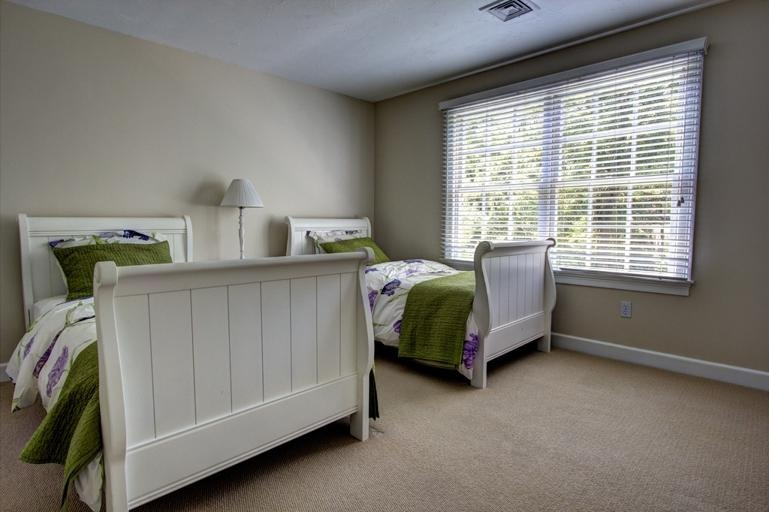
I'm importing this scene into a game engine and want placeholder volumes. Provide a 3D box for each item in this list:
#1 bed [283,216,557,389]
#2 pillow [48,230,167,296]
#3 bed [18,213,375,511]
[{"bbox_3d":[0.271,0.318,4.932,2.183,1.215,1.408,2,4,42],"label":"bed"},{"bbox_3d":[-2.074,0.036,4.120,0.919,0.229,0.816,-7,40,-37],"label":"pillow"},{"bbox_3d":[-1.542,0.635,3.554,2.159,1.343,1.816,1,3,44],"label":"bed"}]
